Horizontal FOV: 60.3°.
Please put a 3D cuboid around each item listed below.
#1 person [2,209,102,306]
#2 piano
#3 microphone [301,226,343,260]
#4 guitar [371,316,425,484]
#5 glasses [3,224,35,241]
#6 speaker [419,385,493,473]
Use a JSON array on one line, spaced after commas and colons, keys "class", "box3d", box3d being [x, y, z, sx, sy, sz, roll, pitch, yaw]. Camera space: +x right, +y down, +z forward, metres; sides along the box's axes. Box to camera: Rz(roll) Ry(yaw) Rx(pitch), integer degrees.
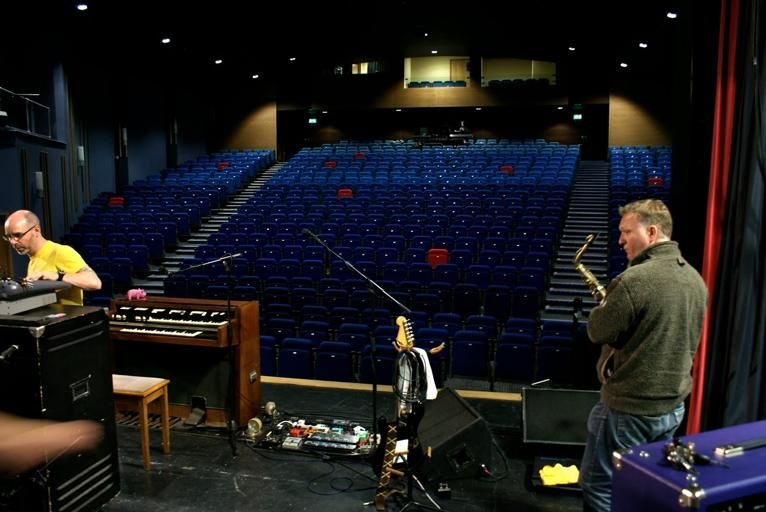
[{"class": "person", "box3d": [-2.443, 0.022, 4.915, 0.563, 0.700, 0.754, 0, 3, -40]}, {"class": "piano", "box3d": [-1.980, 1.027, 6.363, 1.495, 1.117, 0.765, 1, 5, 19]}, {"class": "microphone", "box3d": [-0.898, -0.177, 9.808, 0.195, 0.195, 1.113, 11, 18, -48]}, {"class": "guitar", "box3d": [0.120, 1.149, 5.138, 0.365, 1.397, 0.514, 1, 3, -6]}, {"class": "glasses", "box3d": [-2.671, -0.176, 4.900, 0.159, 0.044, 0.149, -4, 21, 10]}, {"class": "speaker", "box3d": [0.577, 1.435, 5.397, 0.525, 0.455, 0.687, -28, 9, -3]}]
